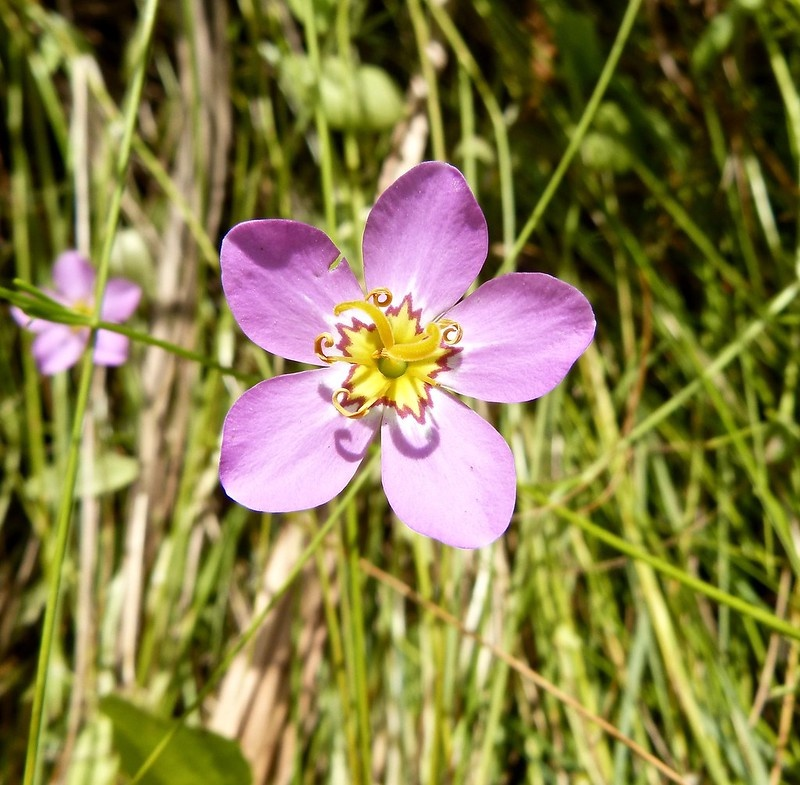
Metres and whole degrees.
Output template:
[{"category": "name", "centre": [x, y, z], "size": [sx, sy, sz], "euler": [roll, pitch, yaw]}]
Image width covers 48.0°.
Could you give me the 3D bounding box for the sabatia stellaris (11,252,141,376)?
[{"category": "sabatia stellaris", "centre": [-0.579, -0.132, 1.619], "size": [0.198, 0.060, 0.259], "euler": [30, 97, 18]}]
